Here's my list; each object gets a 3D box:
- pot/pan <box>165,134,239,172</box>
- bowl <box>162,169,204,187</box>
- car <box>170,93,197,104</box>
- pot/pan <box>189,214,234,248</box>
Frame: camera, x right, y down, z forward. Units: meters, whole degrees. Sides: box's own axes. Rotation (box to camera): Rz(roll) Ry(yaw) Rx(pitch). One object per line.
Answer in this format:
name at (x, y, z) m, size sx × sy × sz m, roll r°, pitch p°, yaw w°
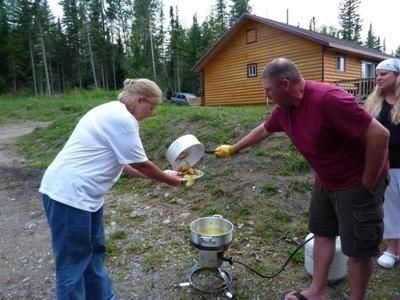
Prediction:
pot/pan at (-0.085, 0.029, 4.840) m, size 0.548 × 0.448 × 0.254 m, roll 0°, pitch 30°, yaw -32°
bowl at (-0.142, 0.375, 4.593) m, size 0.342 × 0.100 × 0.255 m, roll 15°, pitch 18°, yaw 4°
car at (-1.150, -4.079, 28.499) m, size 2.039 × 0.944 × 1.138 m, roll 8°, pitch 20°, yaw 42°
pot/pan at (0.181, 1.054, 4.569) m, size 0.502 × 0.230 × 0.643 m, roll 4°, pitch 15°, yaw 22°
